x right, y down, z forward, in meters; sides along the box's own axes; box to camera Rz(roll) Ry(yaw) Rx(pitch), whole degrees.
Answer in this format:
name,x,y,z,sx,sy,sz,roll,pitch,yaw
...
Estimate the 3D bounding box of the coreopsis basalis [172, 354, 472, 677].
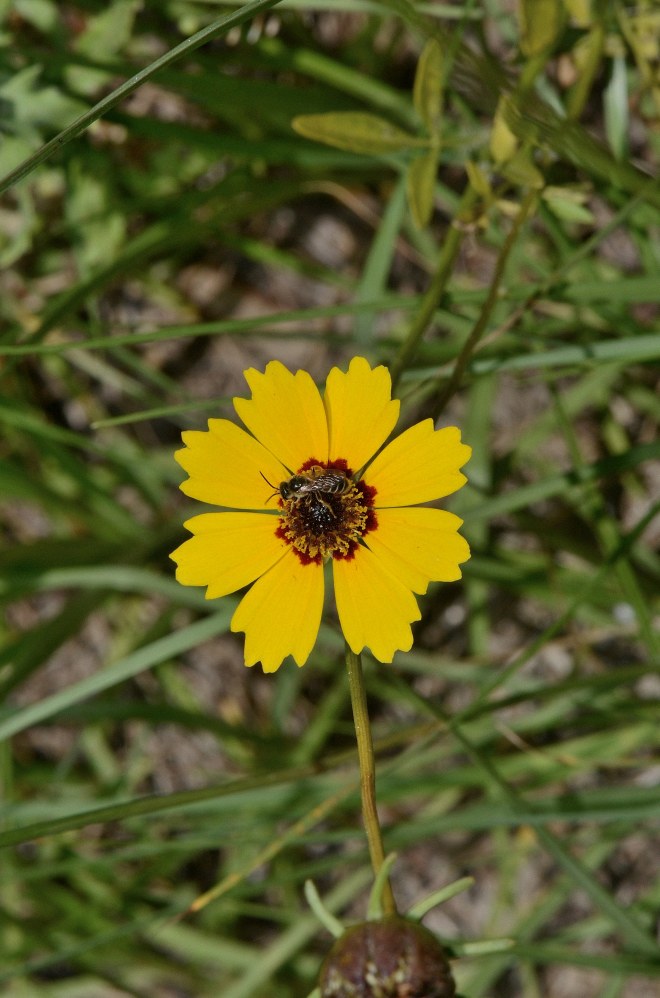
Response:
name,x,y,z,sx,sy,sz,roll,pitch,yaw
coreopsis basalis,-0.011,0.017,1.212,0.379,0.270,0.409,1,-88,0
